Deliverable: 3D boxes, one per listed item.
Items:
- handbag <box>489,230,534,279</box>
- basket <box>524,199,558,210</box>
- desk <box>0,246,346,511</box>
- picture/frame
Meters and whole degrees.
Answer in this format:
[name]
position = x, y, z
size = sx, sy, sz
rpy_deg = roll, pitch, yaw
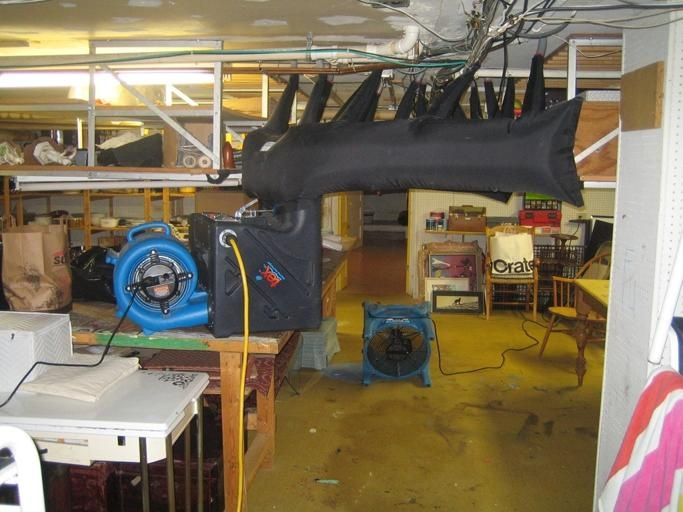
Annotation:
[handbag]
position = 2.139, 0.007, 7.207
size = 0.601, 0.648, 0.273
rpy_deg = 0, 8, 8
[basket]
position = 2.725, -0.709, 7.780
size = 0.466, 0.133, 0.100
rpy_deg = 4, 15, 13
[desk]
position = -1.038, 0.684, 3.630
size = 1.614, 0.961, 1.602
rpy_deg = 3, 8, 11
[picture/frame]
position = 1.453, 0.300, 7.571
size = 1.003, 1.092, 0.090
rpy_deg = 0, -17, 1
